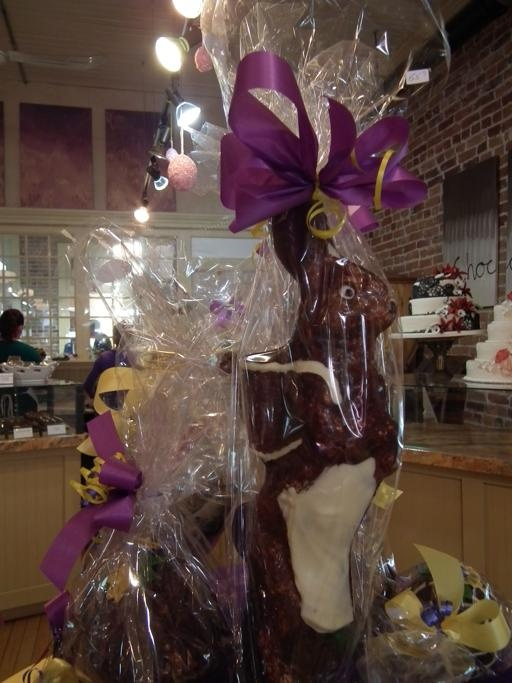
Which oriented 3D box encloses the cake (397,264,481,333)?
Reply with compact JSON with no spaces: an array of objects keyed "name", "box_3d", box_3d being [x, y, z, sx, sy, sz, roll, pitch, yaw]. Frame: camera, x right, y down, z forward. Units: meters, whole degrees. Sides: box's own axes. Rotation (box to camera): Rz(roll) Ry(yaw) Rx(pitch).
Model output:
[{"name":"cake","box_3d":[1.057,-0.245,2.922,0.516,0.387,0.534,-1,-6,-1]}]
